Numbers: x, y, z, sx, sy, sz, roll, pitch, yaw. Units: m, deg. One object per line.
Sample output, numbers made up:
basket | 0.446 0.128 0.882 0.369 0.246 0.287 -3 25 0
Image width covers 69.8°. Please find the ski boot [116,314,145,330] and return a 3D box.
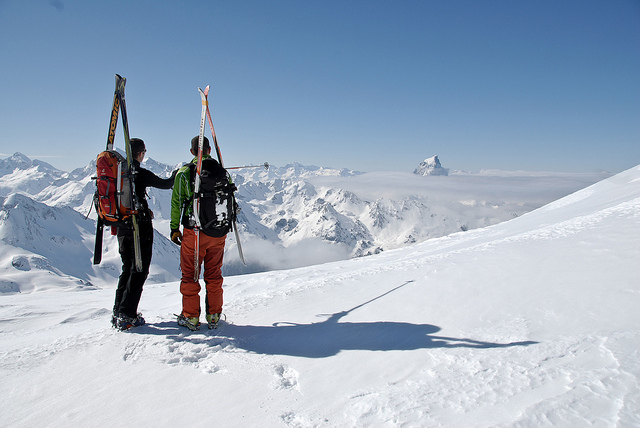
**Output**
ski boot | -4.357 2.482 10.563 0.633 0.211 0.271 -6 -26 -31

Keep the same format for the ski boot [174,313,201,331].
ski boot | -3.030 2.456 10.493 0.573 0.266 0.239 22 3 23
